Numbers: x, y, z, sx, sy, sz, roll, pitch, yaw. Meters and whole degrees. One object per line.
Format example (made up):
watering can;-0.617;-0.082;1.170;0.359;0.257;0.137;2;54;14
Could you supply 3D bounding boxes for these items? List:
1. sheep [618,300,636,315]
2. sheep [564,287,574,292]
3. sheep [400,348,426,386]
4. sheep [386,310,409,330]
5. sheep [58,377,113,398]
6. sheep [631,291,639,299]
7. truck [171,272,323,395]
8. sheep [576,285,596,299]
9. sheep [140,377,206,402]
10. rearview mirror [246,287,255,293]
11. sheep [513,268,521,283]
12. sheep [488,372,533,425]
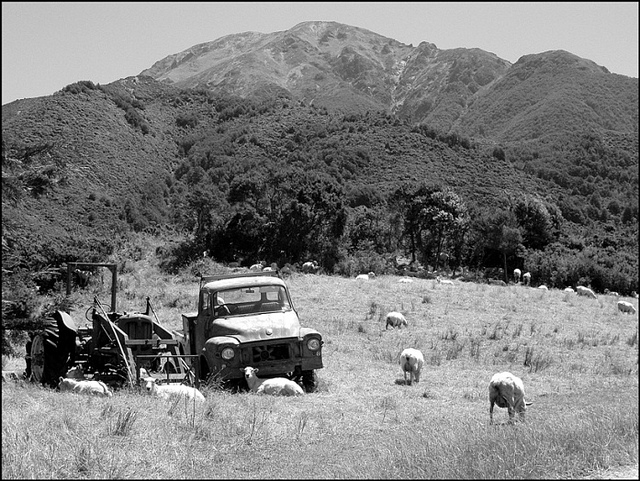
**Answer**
sheep;16.877;3.676;39.918;0.814;0.660;1.378;-2;-6;23
sheep;19.175;3.773;55.722;0.547;0.307;0.817;4;1;15
sheep;2.787;3.804;22.092;0.621;1.042;1.272;0;-6;8
sheep;3.165;3.271;29.699;0.582;0.684;1.365;-5;-8;44
sheep;-5.795;3.580;17.730;0.849;0.317;0.614;7;-2;0
sheep;27.185;4.642;62.588;0.412;0.758;1.600;-6;-17;23
truck;-2.334;2.577;21.126;2.240;2.586;4.181;-1;-7;-16
sheep;18.658;3.594;50.755;1.148;0.728;2.726;-1;-6;19
sheep;-3.664;3.651;18.105;1.388;0.863;0.655;11;-12;0
rearview mirror;-1.997;1.425;20.589;0.192;0.155;0.146;1;-28;-3
sheep;17.465;3.142;64.341;0.438;1.149;2.708;0;-6;13
sheep;4.570;3.824;17.700;0.851;1.180;0.678;0;-5;11
